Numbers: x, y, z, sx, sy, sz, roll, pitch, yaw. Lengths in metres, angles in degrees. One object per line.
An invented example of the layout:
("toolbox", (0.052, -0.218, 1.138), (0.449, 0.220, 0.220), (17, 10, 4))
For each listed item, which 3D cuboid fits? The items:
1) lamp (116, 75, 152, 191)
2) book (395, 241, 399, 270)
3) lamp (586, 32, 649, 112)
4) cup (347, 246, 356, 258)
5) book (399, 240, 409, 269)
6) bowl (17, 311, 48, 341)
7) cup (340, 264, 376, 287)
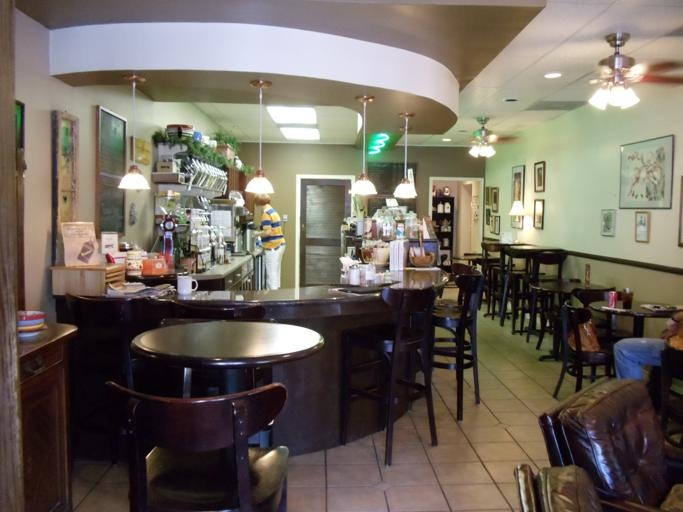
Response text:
("lamp", (-1.821, -1.035, 4.857), (0.262, 0.972, 1.413), (-2, 9, -19))
("book", (0.493, 0.008, 4.981), (0.047, 0.187, 0.135), (3, 5, 3))
("lamp", (2.481, -1.672, 4.992), (0.582, 0.596, 0.596), (1, 4, 1))
("cup", (0.139, -0.053, 7.187), (0.102, 0.142, 0.140), (1, -3, -12))
("book", (0.567, -0.016, 5.076), (0.139, 0.255, 0.257), (1, 1, 8))
("bowl", (-1.663, 0.364, 3.021), (0.134, 0.152, 0.443), (-4, 9, -28))
("cup", (0.132, 0.148, 4.514), (0.257, 0.268, 0.152), (2, 3, -4))
